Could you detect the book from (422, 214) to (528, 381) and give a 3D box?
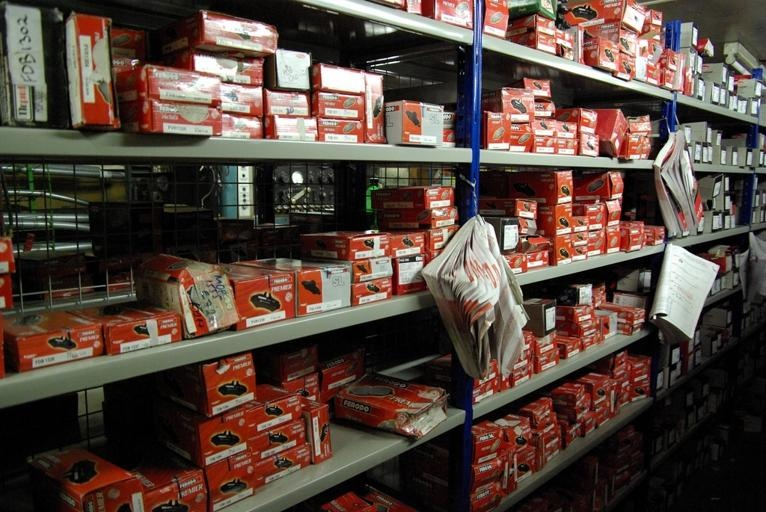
[{"bbox_3d":[0.383,0.181,2.349,0.325,0.654,0.347,8,17,44],"label":"book"}]
